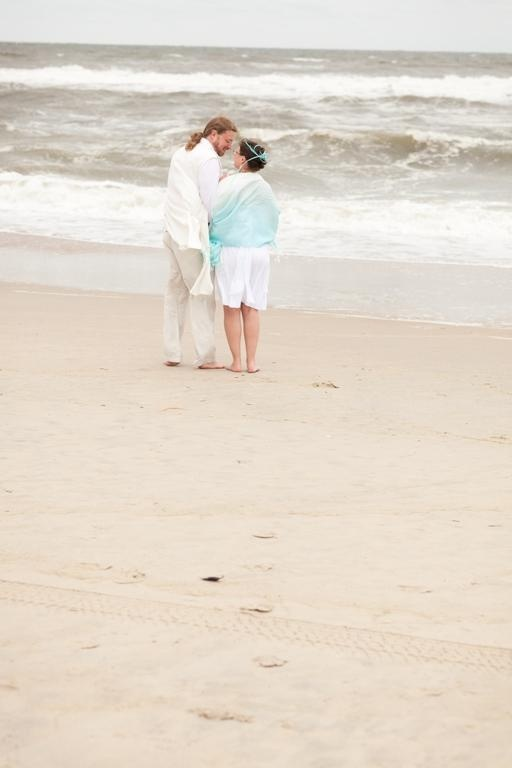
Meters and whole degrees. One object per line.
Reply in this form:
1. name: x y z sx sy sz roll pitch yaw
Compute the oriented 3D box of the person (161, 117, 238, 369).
1. person: -0.335 -0.768 6.808 0.383 1.404 0.397 2 14 -4
